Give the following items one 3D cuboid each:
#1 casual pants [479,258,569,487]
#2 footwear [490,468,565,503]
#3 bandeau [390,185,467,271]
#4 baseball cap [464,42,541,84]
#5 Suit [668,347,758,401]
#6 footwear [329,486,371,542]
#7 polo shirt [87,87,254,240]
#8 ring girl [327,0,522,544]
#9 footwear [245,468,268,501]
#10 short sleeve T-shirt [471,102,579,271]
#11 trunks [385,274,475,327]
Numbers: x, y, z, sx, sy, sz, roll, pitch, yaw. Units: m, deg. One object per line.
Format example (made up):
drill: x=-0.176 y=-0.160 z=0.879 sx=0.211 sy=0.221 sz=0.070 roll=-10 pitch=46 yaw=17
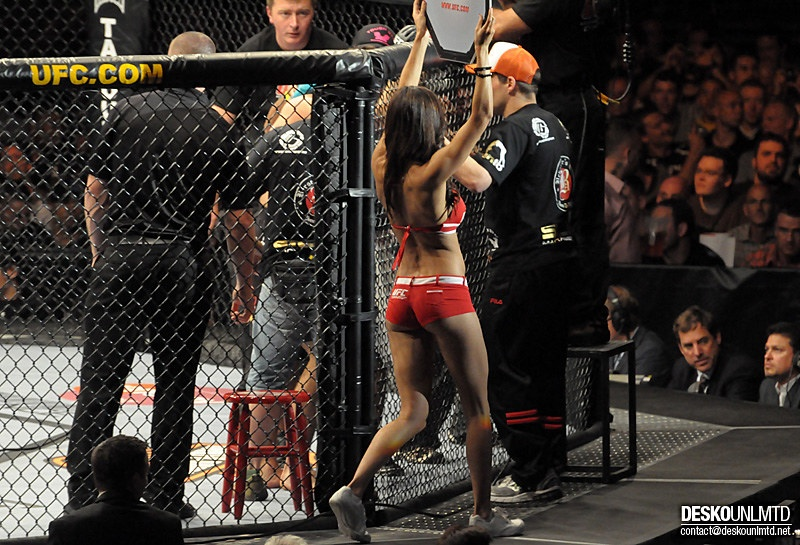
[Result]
casual pants: x=0.741 y=0.575 z=6.197 sx=0.478 sy=1.210 sz=0.639 roll=2 pitch=0 yaw=38
footwear: x=0.744 y=1.255 z=6.013 sx=0.429 sy=0.148 sz=0.163 roll=1 pitch=-2 yaw=5
bandeau: x=0.063 y=-0.284 z=5.535 sx=0.374 sy=0.287 sz=0.470 roll=35 pitch=48 yaw=20
baseball cap: x=0.618 y=-1.173 z=5.913 sx=0.409 sy=0.173 sz=0.243 roll=18 pitch=26 yaw=11
Suit: x=2.650 y=0.793 z=8.422 sx=0.961 sy=0.383 sz=0.721 roll=0 pitch=1 yaw=-7
footwear: x=-0.266 y=1.279 z=5.411 sx=0.203 sy=0.308 sz=0.106 roll=-2 pitch=11 yaw=6
polo shirt: x=-1.242 y=-0.606 z=6.088 sx=1.257 sy=0.953 sz=0.598 roll=10 pitch=16 yaw=18
ring girl: x=0.125 y=0.066 z=5.353 sx=0.924 sy=2.713 sz=0.498 roll=-2 pitch=11 yaw=4
footwear: x=-0.837 y=1.267 z=6.117 sx=0.169 sy=0.168 sz=0.193 roll=1 pitch=8 yaw=5
short sleeve T-shirt: x=0.698 y=-0.465 z=5.925 sx=0.465 sy=0.780 sz=1.100 roll=9 pitch=17 yaw=41
trunks: x=0.159 y=0.157 z=5.523 sx=0.570 sy=0.232 sz=0.310 roll=-2 pitch=-7 yaw=45
